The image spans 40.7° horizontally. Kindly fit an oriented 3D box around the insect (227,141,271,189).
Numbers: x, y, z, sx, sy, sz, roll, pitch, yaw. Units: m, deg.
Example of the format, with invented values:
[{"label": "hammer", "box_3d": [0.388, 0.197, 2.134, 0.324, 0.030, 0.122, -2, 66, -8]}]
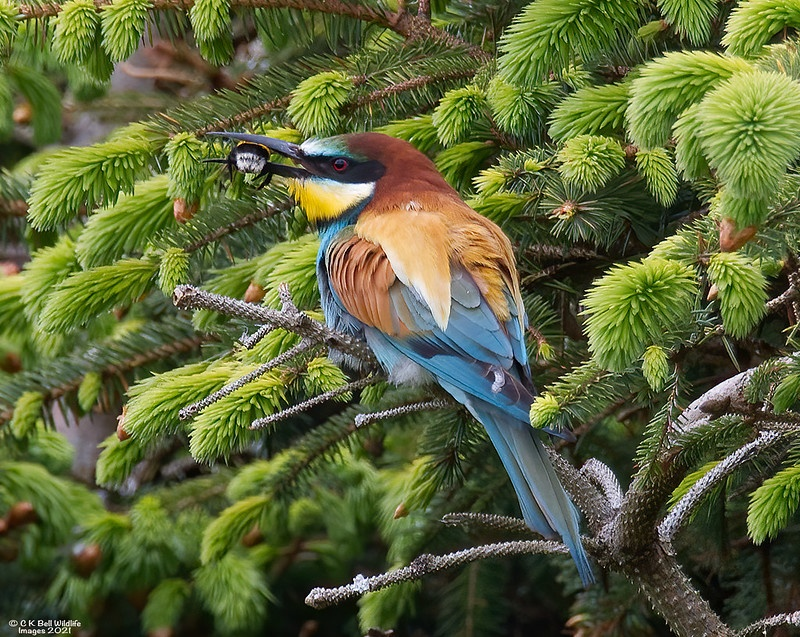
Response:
[{"label": "insect", "box_3d": [-0.588, -0.591, 4.198, 0.176, 0.210, 0.318, -12, 15, -6]}]
